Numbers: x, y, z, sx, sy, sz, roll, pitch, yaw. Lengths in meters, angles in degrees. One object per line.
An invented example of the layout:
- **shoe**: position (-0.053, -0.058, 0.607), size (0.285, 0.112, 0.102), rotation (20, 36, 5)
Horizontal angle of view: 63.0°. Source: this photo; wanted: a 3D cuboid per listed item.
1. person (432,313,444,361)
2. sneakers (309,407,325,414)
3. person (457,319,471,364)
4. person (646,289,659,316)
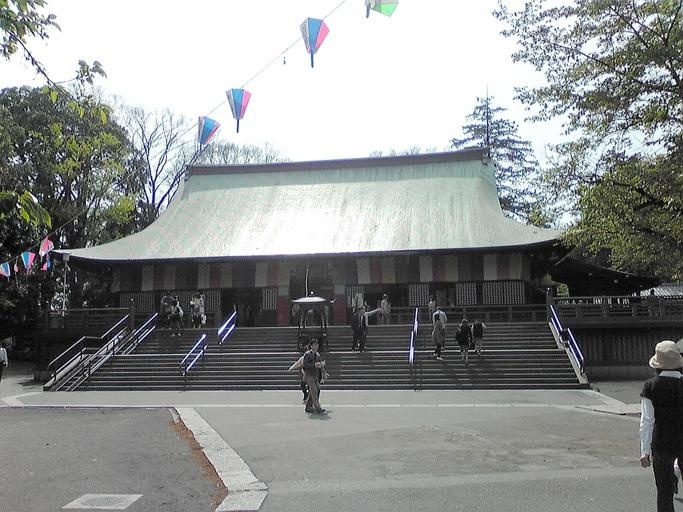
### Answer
- **person**: position (3.556, 2.875, 20.461), size (0.368, 1.715, 1.019), rotation (-1, -4, 11)
- **sneakers**: position (-0.560, 3.622, 13.010), size (0.361, 0.190, 0.146), rotation (-4, -4, 16)
- **person**: position (4.439, 3.069, 20.306), size (0.526, 1.554, 1.719), rotation (-1, -5, 12)
- **person**: position (13.219, 2.146, 23.621), size (0.407, 0.901, 0.703), rotation (-3, -5, 31)
